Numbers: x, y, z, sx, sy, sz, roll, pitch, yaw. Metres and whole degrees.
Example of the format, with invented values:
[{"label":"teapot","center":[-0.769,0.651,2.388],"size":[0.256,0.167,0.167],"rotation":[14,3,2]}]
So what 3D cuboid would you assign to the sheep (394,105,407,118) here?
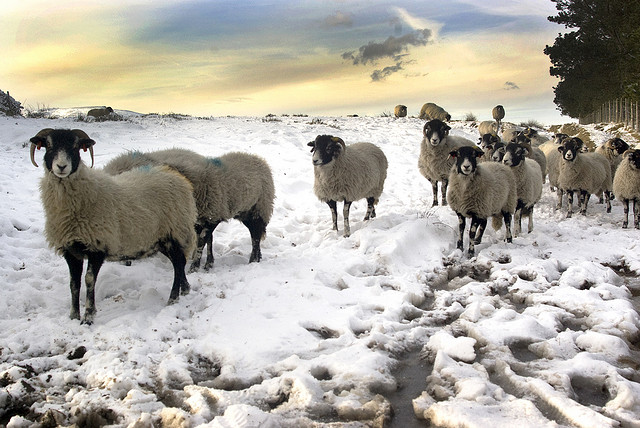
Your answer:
[{"label":"sheep","center":[5.865,-7.531,36.240],"size":[0.790,0.810,2.197],"rotation":[-1,13,6]}]

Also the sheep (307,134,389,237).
[{"label":"sheep","center":[0.809,-0.941,13.510],"size":[1.216,2.470,2.228],"rotation":[10,18,41]}]

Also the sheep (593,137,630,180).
[{"label":"sheep","center":[9.432,-1.839,16.136],"size":[1.189,1.288,2.237],"rotation":[-6,2,44]}]

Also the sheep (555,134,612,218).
[{"label":"sheep","center":[8.042,-1.237,15.227],"size":[2.776,2.227,1.456],"rotation":[-12,17,-36]}]

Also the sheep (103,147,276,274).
[{"label":"sheep","center":[-2.660,-0.077,11.183],"size":[1.403,2.573,4.444],"rotation":[4,6,39]}]

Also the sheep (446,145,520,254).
[{"label":"sheep","center":[3.944,-0.446,12.149],"size":[1.617,2.444,0.957],"rotation":[-8,15,-23]}]

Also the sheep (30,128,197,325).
[{"label":"sheep","center":[-4.107,0.225,9.849],"size":[1.697,3.300,3.564],"rotation":[4,2,30]}]

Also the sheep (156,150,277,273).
[{"label":"sheep","center":[-2.499,-0.062,11.240],"size":[1.192,2.541,3.766],"rotation":[9,11,39]}]

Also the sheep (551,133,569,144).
[{"label":"sheep","center":[8.615,-2.726,17.927],"size":[0.410,0.425,0.826],"rotation":[0,8,0]}]

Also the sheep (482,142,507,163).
[{"label":"sheep","center":[5.167,-1.859,14.905],"size":[0.595,0.668,1.317],"rotation":[4,11,33]}]
